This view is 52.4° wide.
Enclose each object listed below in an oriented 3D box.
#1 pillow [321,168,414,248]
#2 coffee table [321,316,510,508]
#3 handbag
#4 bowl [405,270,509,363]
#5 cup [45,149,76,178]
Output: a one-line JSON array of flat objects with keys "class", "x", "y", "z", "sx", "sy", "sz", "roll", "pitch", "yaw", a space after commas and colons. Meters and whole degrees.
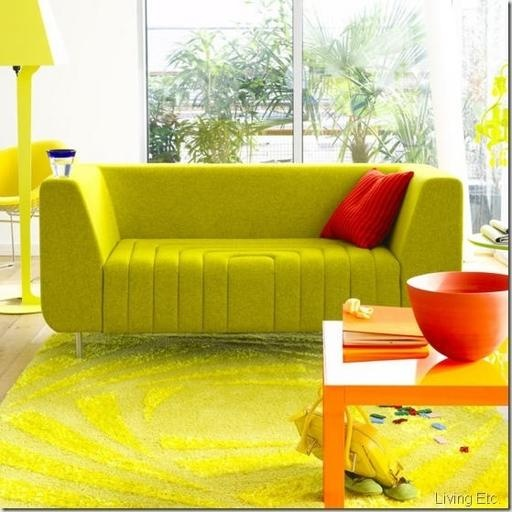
[{"class": "pillow", "x": 0.534, "y": -0.234, "z": 2.445, "sx": 0.114, "sy": 0.361, "sz": 0.378, "roll": 26, "pitch": 0, "yaw": -9}, {"class": "coffee table", "x": 0.283, "y": 0.286, "z": 1.053, "sx": 0.316, "sy": 0.244, "sz": 0.328, "roll": 0, "pitch": 3, "yaw": -2}, {"class": "handbag", "x": 0.222, "y": 0.447, "z": 1.253, "sx": 0.265, "sy": 0.234, "sz": 0.143, "roll": 13, "pitch": 31, "yaw": 38}, {"class": "bowl", "x": 0.429, "y": 0.103, "z": 1.136, "sx": 0.206, "sy": 0.152, "sz": 0.205, "roll": -1, "pitch": 3, "yaw": 0}, {"class": "cup", "x": -0.901, "y": -0.427, "z": 2.440, "sx": 0.140, "sy": 0.125, "sz": 0.141, "roll": 1, "pitch": 4, "yaw": 0}]
